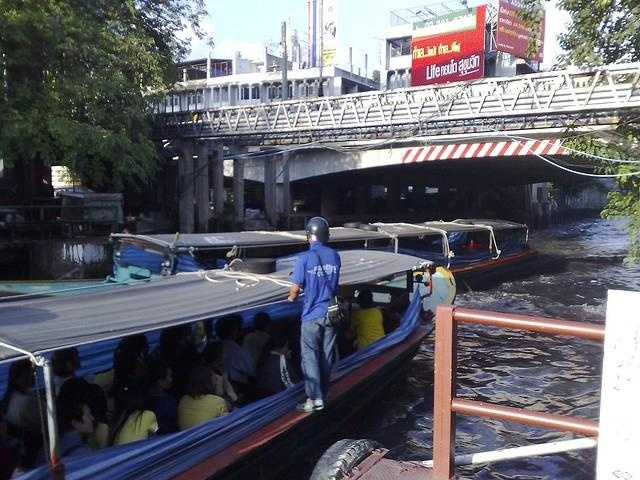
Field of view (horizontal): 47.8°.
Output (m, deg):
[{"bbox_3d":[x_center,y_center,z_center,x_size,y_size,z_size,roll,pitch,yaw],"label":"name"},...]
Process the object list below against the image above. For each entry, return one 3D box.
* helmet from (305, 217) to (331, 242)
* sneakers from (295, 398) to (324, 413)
[{"bbox_3d":[-0.010,-0.173,11.590,0.347,0.350,0.385,1,22,-14],"label":"helmet"},{"bbox_3d":[-0.130,2.549,11.171,0.459,0.200,0.179,2,6,8],"label":"sneakers"}]
